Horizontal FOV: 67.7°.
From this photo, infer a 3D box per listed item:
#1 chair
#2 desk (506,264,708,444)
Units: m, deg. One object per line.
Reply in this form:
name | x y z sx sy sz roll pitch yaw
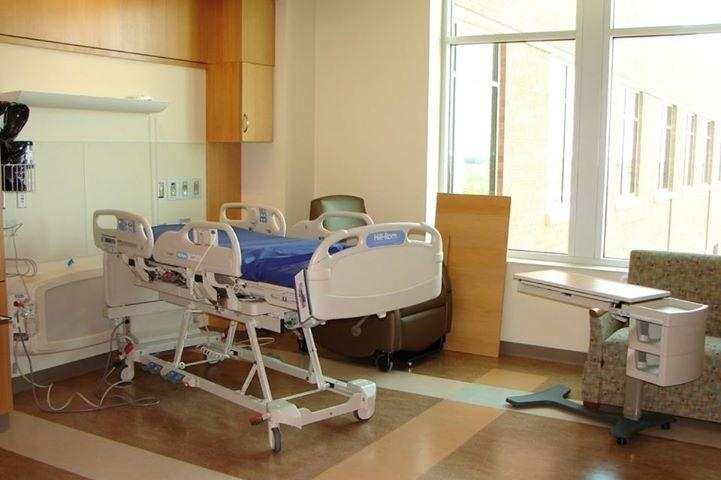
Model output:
chair | 0.357 0.411 5.586 1.340 1.873 1.603 -5 4 -44
desk | 1.805 0.732 4.180 0.960 1.278 1.541 -10 12 -43
